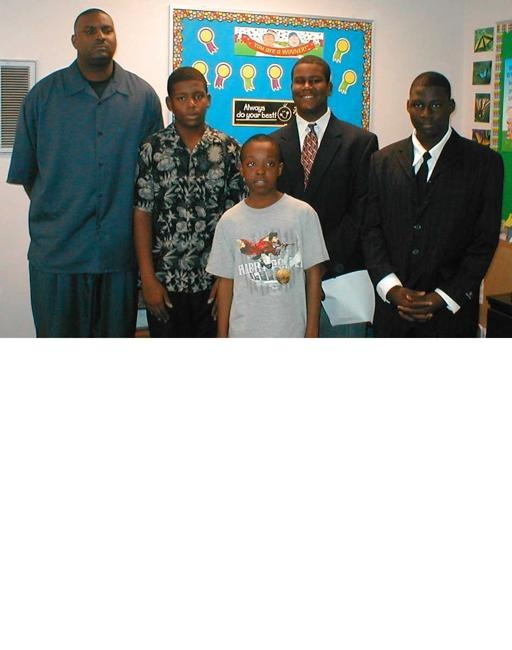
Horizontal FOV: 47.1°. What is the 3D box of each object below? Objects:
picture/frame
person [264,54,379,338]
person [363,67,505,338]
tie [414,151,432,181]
[{"bbox_3d":[0.036,-1.300,3.007,1.107,0.881,0.022,-2,10,-15],"label":"picture/frame"},{"bbox_3d":[0.262,-0.382,2.427,0.413,1.351,0.401,1,22,18],"label":"person"},{"bbox_3d":[0.618,-0.410,2.073,0.472,0.915,0.306,2,15,11],"label":"person"},{"bbox_3d":[0.590,-0.551,2.085,0.033,0.147,0.035,11,-11,10],"label":"tie"}]
